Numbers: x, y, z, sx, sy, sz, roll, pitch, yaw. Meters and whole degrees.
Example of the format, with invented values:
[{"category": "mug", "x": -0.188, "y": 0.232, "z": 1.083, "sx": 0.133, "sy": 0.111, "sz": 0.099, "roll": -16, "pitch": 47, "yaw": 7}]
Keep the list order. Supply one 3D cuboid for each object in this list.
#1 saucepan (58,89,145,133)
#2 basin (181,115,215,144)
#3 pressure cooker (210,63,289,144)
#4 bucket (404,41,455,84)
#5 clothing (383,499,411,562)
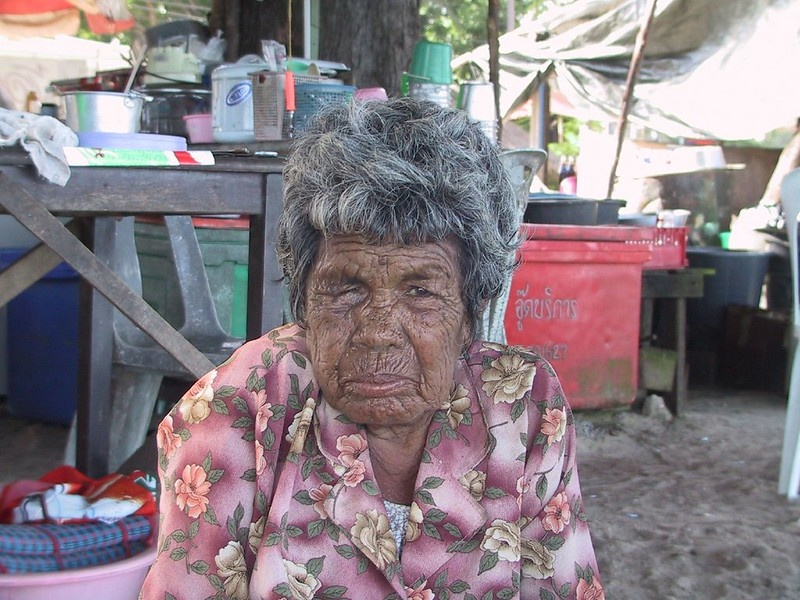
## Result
[{"category": "saucepan", "x": -1.159, "y": -0.708, "z": 3.122, "sx": 0.181, "sy": 0.160, "sz": 0.220, "roll": 13, "pitch": 10, "yaw": 6}, {"category": "basin", "x": -0.975, "y": -0.829, "z": 3.936, "sx": 0.152, "sy": 0.127, "sz": 0.161, "roll": -1, "pitch": 3, "yaw": 0}, {"category": "pressure cooker", "x": -0.668, "y": -0.856, "z": 3.705, "sx": 0.336, "sy": 0.408, "sz": 0.353, "roll": 0, "pitch": 1, "yaw": -5}, {"category": "bucket", "x": 0.169, "y": -1.266, "z": 4.344, "sx": 0.255, "sy": 0.220, "sz": 0.185, "roll": -1, "pitch": 12, "yaw": -11}, {"category": "clothing", "x": 0.014, "y": 0.651, "z": 2.312, "sx": 0.031, "sy": 0.120, "sz": 0.116, "roll": 3, "pitch": 8, "yaw": -35}]
